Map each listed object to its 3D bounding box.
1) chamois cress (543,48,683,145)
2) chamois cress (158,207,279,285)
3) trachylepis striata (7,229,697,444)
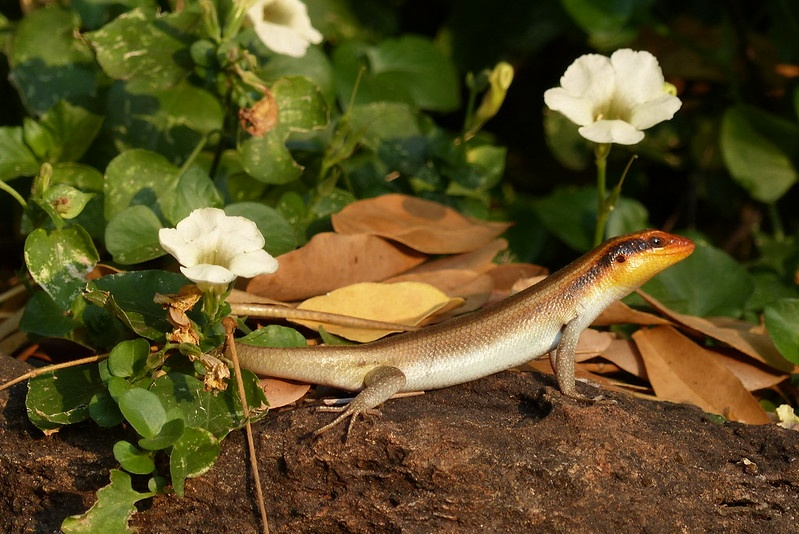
[{"bbox_3d":[0.836,-0.694,3.557,0.446,0.446,0.477,-5,20,-23],"label":"chamois cress"},{"bbox_3d":[-0.651,-0.069,3.084,0.398,0.298,0.363,-14,27,-39],"label":"chamois cress"},{"bbox_3d":[0.324,0.248,3.337,1.731,0.647,0.446,-2,43,-19],"label":"trachylepis striata"}]
